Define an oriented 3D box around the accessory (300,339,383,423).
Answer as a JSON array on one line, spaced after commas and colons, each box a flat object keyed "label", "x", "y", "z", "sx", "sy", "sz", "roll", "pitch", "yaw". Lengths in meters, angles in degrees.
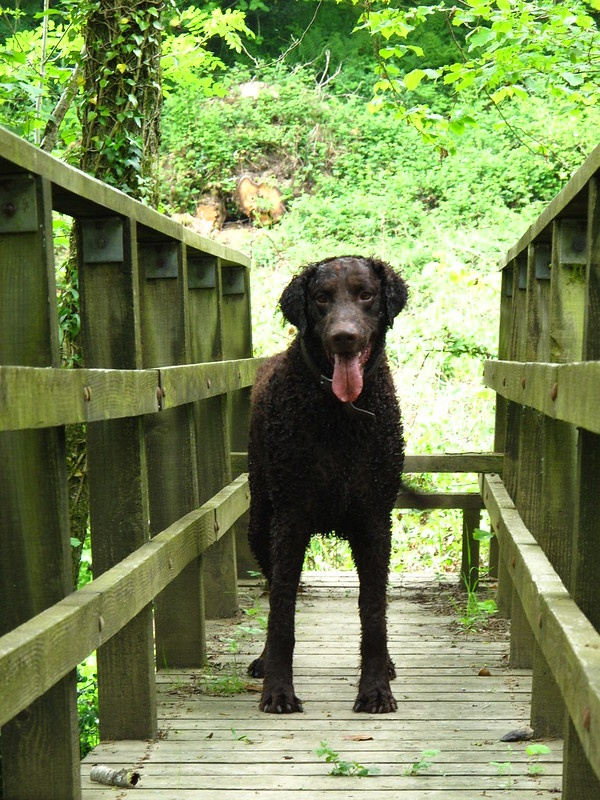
[{"label": "accessory", "x": 0.160, "y": -0.089, "z": 3.954, "sx": 0.331, "sy": 0.325, "sz": 0.285, "roll": -1, "pitch": 0, "yaw": 2}]
